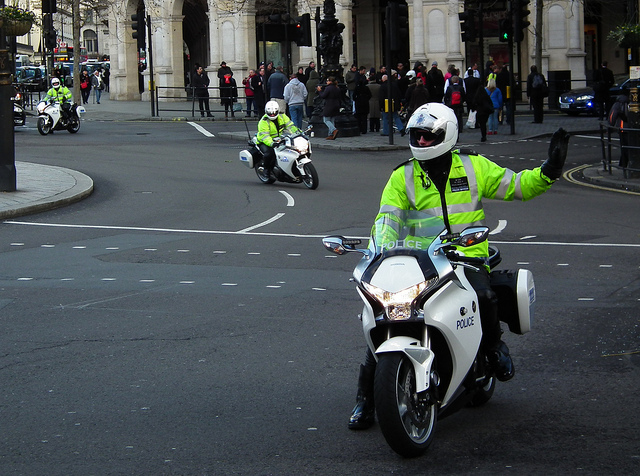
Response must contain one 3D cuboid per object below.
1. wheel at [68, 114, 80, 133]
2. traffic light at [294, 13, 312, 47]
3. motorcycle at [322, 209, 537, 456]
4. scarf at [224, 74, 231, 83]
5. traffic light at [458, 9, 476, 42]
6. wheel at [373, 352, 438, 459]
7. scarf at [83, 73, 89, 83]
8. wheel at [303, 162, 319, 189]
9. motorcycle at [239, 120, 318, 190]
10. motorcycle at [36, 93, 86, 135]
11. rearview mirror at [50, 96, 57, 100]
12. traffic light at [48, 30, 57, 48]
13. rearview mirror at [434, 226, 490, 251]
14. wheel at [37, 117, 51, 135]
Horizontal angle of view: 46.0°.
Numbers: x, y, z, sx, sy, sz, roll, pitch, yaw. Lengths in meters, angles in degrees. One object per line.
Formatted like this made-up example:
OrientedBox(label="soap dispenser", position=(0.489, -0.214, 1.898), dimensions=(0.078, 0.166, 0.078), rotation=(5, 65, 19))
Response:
OrientedBox(label="wheel", position=(-9.500, -4.425, 28.832), dimensions=(0.518, 0.552, 0.213), rotation=(19, 0, -13))
OrientedBox(label="traffic light", position=(-0.720, -8.556, 30.666), dimensions=(0.627, 1.291, 1.346), rotation=(-1, 11, -2))
OrientedBox(label="motorcycle", position=(0.575, 0.520, 4.639), dimensions=(0.854, 1.288, 2.011), rotation=(-5, -2, 23))
OrientedBox(label="scarf", position=(-4.689, -8.024, 37.749), dimensions=(0.226, 0.371, 0.919), rotation=(1, 11, 11))
OrientedBox(label="traffic light", position=(6.047, -8.774, 30.796), dimensions=(0.608, 1.335, 2.660), rotation=(1, 11, 11))
OrientedBox(label="wheel", position=(0.531, 0.994, 4.470), dimensions=(0.441, 0.668, 0.301), rotation=(-2, 10, -10))
OrientedBox(label="scarf", position=(-15.416, -10.518, 49.386), dimensions=(0.212, 0.538, 1.155), rotation=(-4, 12, -16))
OrientedBox(label="wheel", position=(-0.205, -1.386, 16.537), dimensions=(0.263, 0.583, 0.529), rotation=(-8, 13, -37))
OrientedBox(label="motorcycle", position=(-0.905, -1.986, 17.123), dimensions=(0.989, 1.602, 2.454), rotation=(-8, 13, -38))
OrientedBox(label="motorcycle", position=(-9.979, -4.746, 28.627), dimensions=(1.608, 1.472, 0.958), rotation=(-8, 13, -35))
OrientedBox(label="rearview mirror", position=(-10.044, -5.295, 28.284), dimensions=(0.215, 0.115, 0.073), rotation=(-3, 11, -14))
OrientedBox(label="traffic light", position=(-13.719, -10.212, 38.357), dimensions=(0.234, 0.918, 1.383), rotation=(-2, 11, -10))
OrientedBox(label="rearview mirror", position=(0.878, -0.004, 4.690), dimensions=(0.282, 0.106, 0.051), rotation=(-14, 33, 38))
OrientedBox(label="wheel", position=(-10.385, -4.235, 28.244), dimensions=(0.390, 0.629, 0.345), rotation=(-8, 13, -35))
